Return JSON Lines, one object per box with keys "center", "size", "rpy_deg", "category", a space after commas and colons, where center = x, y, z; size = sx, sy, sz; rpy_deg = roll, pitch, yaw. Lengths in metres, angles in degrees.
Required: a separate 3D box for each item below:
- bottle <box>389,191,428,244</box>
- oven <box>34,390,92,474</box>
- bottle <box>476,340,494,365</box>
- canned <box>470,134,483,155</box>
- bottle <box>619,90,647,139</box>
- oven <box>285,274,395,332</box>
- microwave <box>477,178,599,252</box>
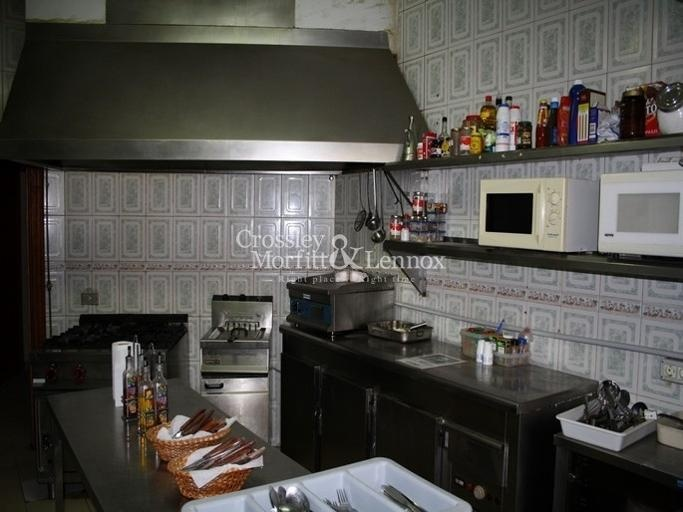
{"center": [0.484, -0.284, 3.960], "size": [0.312, 0.311, 0.322], "rpy_deg": [4, 5, 43], "category": "bottle"}
{"center": [-2.168, 1.340, 4.250], "size": [0.398, 0.594, 0.311], "rpy_deg": [0, -9, -32], "category": "oven"}
{"center": [0.895, 0.605, 3.394], "size": [0.141, 0.183, 0.100], "rpy_deg": [1, -1, -5], "category": "bottle"}
{"center": [0.854, -0.702, 3.521], "size": [0.100, 0.144, 0.146], "rpy_deg": [-1, -3, 22], "category": "canned"}
{"center": [1.412, -0.682, 2.661], "size": [0.114, 0.254, 0.140], "rpy_deg": [-1, 4, 34], "category": "bottle"}
{"center": [-0.026, 0.356, 4.468], "size": [0.621, 0.445, 0.721], "rpy_deg": [-1, 3, -32], "category": "oven"}
{"center": [1.132, -0.217, 3.071], "size": [0.397, 0.447, 0.618], "rpy_deg": [0, 2, -33], "category": "microwave"}
